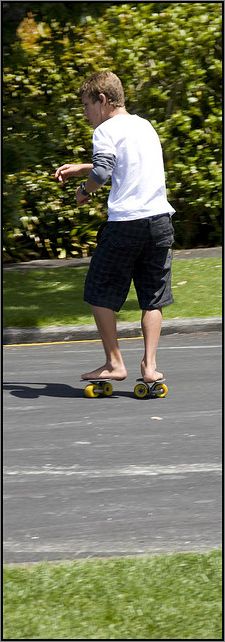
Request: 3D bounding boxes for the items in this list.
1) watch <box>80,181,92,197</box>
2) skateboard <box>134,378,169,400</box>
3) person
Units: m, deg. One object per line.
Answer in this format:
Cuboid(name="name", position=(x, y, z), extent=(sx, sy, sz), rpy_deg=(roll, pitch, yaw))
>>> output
Cuboid(name="watch", position=(-0.221, -1.059, 5.014), extent=(0.047, 0.111, 0.080), rpy_deg=(-5, -17, 43))
Cuboid(name="skateboard", position=(0.320, 0.570, 5.323), extent=(0.293, 0.250, 0.135), rpy_deg=(-1, 7, 3))
Cuboid(name="person", position=(0.076, -0.789, 5.021), extent=(0.796, 2.637, 0.586), rpy_deg=(0, 1, 6))
